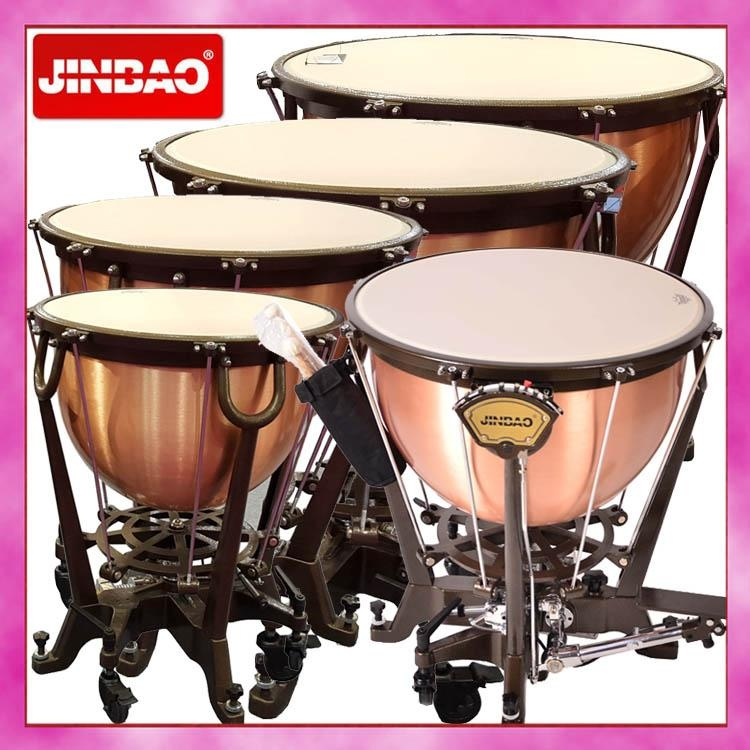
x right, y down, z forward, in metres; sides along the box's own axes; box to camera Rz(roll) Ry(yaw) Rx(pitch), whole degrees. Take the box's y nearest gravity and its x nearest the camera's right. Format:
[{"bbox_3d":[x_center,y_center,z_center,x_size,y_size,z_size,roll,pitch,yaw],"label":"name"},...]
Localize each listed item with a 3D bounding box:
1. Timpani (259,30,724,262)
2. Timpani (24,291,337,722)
[{"bbox_3d":[0.289,-0.887,3.157,1.620,0.768,1.316,-3,25,-7],"label":"Timpani"},{"bbox_3d":[-0.405,0.241,1.893,0.605,0.800,0.451,11,18,26],"label":"Timpani"}]
